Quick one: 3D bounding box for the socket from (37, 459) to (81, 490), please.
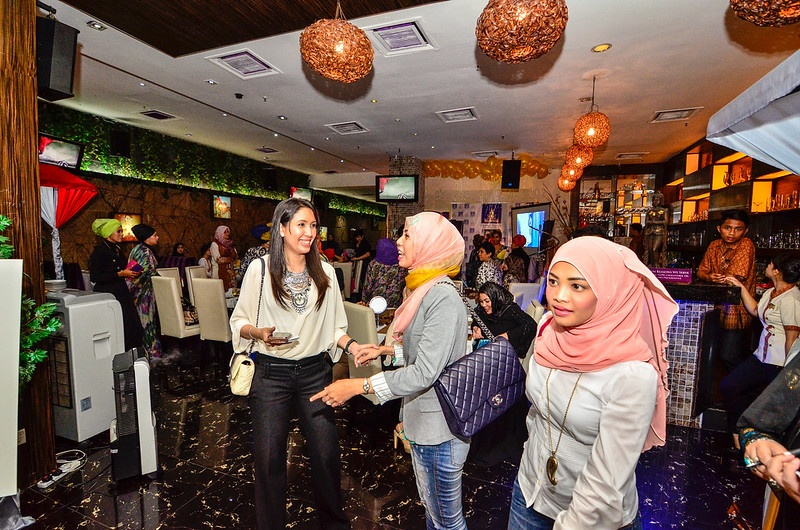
[{"bbox_3d":[-2.924,1.808,4.092,0.240,0.058,0.395,6,4,-2],"label":"socket"}]

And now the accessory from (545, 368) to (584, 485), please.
[{"bbox_3d":[0.924,0.980,2.854,0.185,0.614,0.023,18,-17,-18],"label":"accessory"}]

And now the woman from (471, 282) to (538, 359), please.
[{"bbox_3d":[0.947,0.515,4.371,0.339,0.643,0.390,-27,-13,-31],"label":"woman"}]

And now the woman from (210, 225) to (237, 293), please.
[{"bbox_3d":[-3.338,0.049,9.134,0.480,1.571,0.516,15,20,22],"label":"woman"}]

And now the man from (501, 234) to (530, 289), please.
[{"bbox_3d":[1.819,0.113,7.629,0.427,1.231,0.377,9,30,26],"label":"man"}]

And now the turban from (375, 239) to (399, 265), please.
[{"bbox_3d":[-0.150,-0.153,5.623,0.236,0.274,0.333,-1,16,-6],"label":"turban"}]

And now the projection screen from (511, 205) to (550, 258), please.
[{"bbox_3d":[2.976,-0.811,10.911,1.267,1.274,0.070,-11,13,-31],"label":"projection screen"}]

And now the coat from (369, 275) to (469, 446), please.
[{"bbox_3d":[0.202,0.636,3.628,0.909,1.313,1.006,1,-1,11],"label":"coat"}]

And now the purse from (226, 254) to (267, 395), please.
[{"bbox_3d":[-1.077,0.442,3.410,0.229,0.966,0.155,0,5,-26],"label":"purse"}]

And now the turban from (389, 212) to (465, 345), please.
[{"bbox_3d":[0.180,0.067,3.310,0.506,0.857,0.521,0,4,-43],"label":"turban"}]

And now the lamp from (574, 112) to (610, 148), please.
[{"bbox_3d":[2.619,-1.894,6.546,0.449,0.497,0.451,6,35,24],"label":"lamp"}]

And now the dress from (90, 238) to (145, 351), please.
[{"bbox_3d":[-3.611,0.363,6.054,0.534,1.756,0.604,5,11,-17],"label":"dress"}]

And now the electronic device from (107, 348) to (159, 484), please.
[{"bbox_3d":[-2.244,1.298,4.070,0.353,1.139,0.133,0,5,-26],"label":"electronic device"}]

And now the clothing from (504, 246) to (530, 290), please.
[{"bbox_3d":[1.821,0.076,7.471,0.554,0.567,0.596,1,24,13],"label":"clothing"}]
